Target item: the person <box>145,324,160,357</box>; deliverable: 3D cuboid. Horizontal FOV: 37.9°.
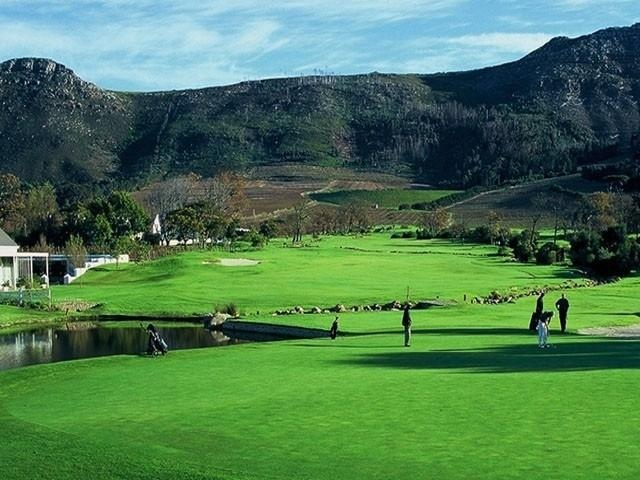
[{"bbox_3d":[-11.042,6.652,61.829,0.793,2.019,1.166,-2,6,-14],"label":"person"}]
